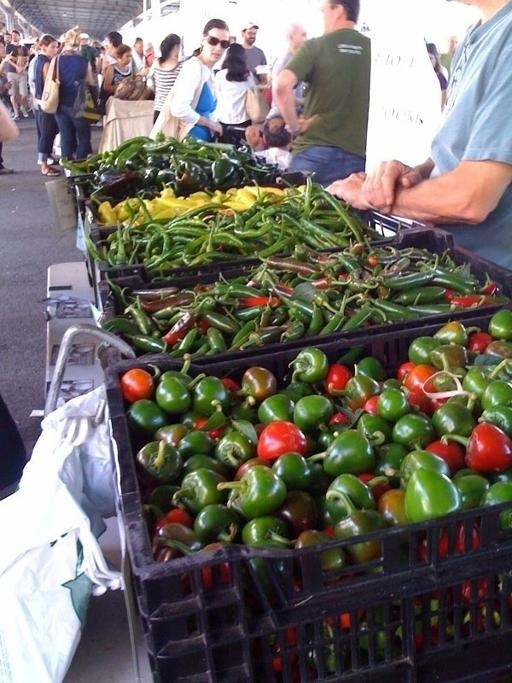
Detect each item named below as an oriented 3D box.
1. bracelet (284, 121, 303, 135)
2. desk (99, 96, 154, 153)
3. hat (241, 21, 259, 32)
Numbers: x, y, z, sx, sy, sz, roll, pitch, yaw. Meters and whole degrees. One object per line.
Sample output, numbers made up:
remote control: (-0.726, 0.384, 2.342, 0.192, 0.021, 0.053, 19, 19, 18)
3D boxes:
bracelet: (0.387, -2.086, 5.151, 0.202, 0.081, 0.214, -1, -12, 6)
desk: (-2.301, -3.628, 8.785, 0.939, 0.783, 0.781, -17, 38, -31)
hat: (-0.106, -5.712, 9.622, 0.243, 0.115, 0.373, -10, 26, -13)
